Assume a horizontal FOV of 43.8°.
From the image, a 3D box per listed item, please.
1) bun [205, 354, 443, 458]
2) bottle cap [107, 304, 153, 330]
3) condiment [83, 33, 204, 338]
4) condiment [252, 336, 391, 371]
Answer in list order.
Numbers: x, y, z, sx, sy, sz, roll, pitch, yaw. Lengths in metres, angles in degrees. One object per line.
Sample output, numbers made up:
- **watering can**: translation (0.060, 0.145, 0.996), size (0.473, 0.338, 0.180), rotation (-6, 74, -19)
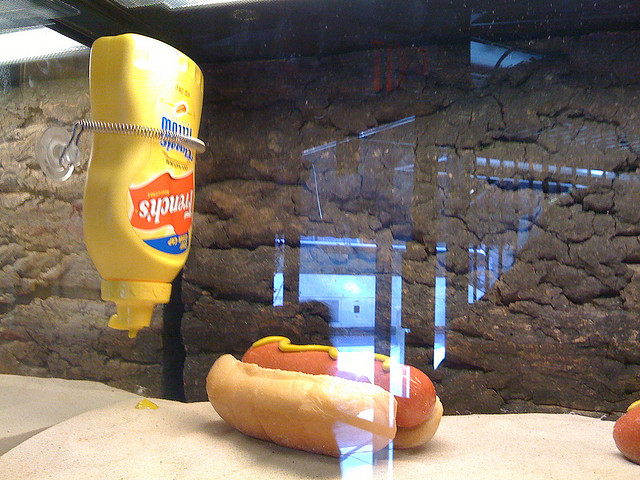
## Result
- **bun**: translation (0.000, 0.455, 2.267), size (0.411, 0.239, 0.555), rotation (5, -8, -30)
- **bottle cap**: translation (-0.549, 0.225, 2.304), size (0.082, 0.080, 0.092), rotation (2, -20, -6)
- **condiment**: translation (-0.485, -0.140, 2.281), size (0.248, 0.840, 0.307), rotation (-4, -8, 28)
- **condiment**: translation (-0.079, 0.342, 2.276), size (0.088, 0.124, 0.533), rotation (48, 8, 20)
